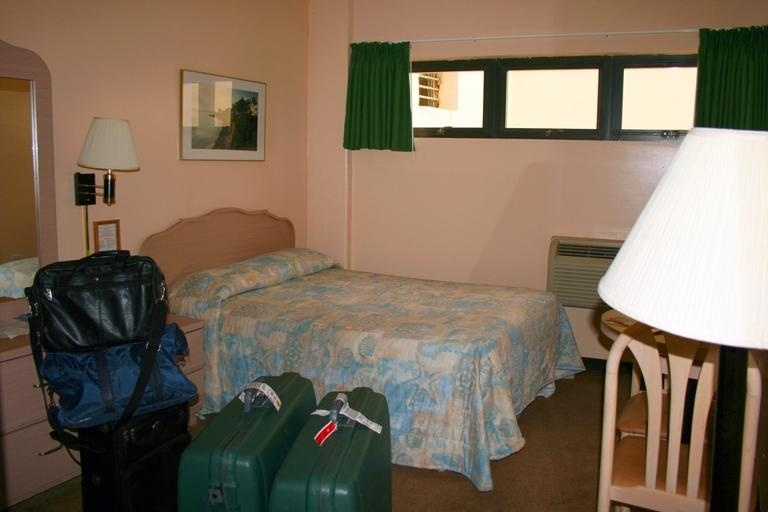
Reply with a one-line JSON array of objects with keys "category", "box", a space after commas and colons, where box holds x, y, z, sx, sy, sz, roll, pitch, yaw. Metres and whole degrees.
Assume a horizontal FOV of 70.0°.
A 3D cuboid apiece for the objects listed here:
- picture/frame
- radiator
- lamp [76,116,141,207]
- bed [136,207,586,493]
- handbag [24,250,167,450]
[{"category": "picture/frame", "box": [-1.449, -1.242, 4.835, 0.022, 0.695, 0.948, 4, 5, 30]}, {"category": "radiator", "box": [1.560, 0.120, 4.277, 0.626, 0.624, 0.230, 2, 10, 23]}, {"category": "lamp", "box": [-1.941, -0.638, 3.793, 0.361, 0.598, 0.451, -7, 13, -40]}, {"category": "bed", "box": [-0.277, 0.473, 4.206, 2.880, 1.246, 1.918, 5, 17, 22]}, {"category": "handbag", "box": [-1.563, 0.369, 2.967, 0.796, 1.101, 0.332, -1, -5, -17]}]
